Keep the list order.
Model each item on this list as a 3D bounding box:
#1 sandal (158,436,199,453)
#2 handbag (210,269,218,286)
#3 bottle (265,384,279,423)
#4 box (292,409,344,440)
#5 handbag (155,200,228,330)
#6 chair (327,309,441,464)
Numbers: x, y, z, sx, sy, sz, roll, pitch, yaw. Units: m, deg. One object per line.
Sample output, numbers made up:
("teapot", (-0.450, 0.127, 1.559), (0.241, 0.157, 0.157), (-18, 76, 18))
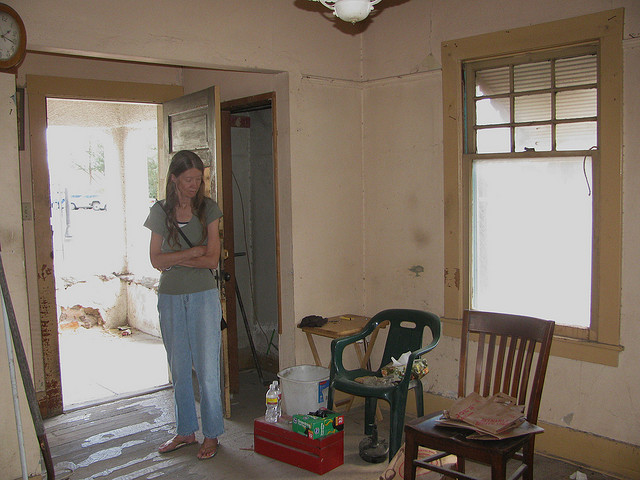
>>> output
("sandal", (-1.111, 1.615, 4.298), (0.261, 0.066, 0.100), (3, -4, -37))
("handbag", (-0.855, 0.309, 4.493), (0.037, 0.129, 0.096), (-4, 3, 41))
("bottle", (-0.366, 1.268, 4.192), (0.111, 0.279, 0.098), (-2, 7, -6))
("box", (0.008, 1.357, 3.970), (0.227, 0.101, 0.221), (5, -6, -44))
("handbag", (-0.977, 0.235, 4.220), (0.496, 1.076, 0.300), (-4, 8, -23))
("chair", (0.504, 1.098, 4.173), (0.763, 1.037, 0.798), (1, 0, 25))
